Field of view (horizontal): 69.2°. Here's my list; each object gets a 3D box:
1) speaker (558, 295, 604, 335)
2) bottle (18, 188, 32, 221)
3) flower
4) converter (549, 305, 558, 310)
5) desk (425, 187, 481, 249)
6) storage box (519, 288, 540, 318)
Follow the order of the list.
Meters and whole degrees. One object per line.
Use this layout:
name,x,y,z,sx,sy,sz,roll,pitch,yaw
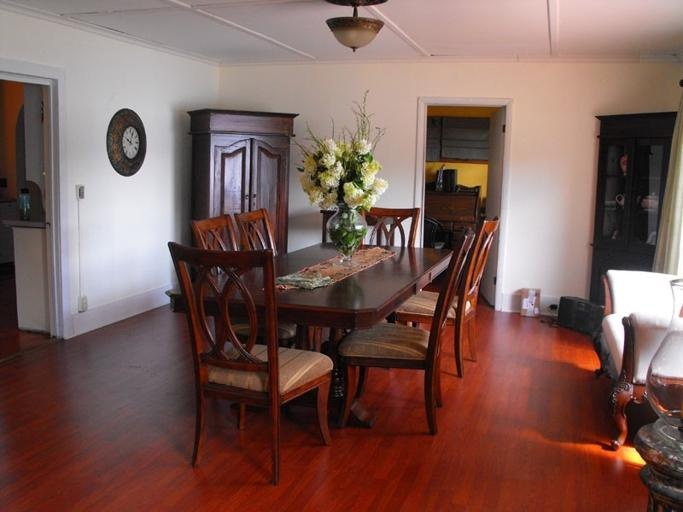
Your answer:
speaker,2.551,0.631,5.245,0.269,0.343,0.441,-1,12,-45
bottle,-3.179,-0.509,4.980,0.109,0.232,0.364,-6,13,-32
flower,-0.007,-0.528,3.550,0.632,1.067,0.716,-9,10,-29
converter,2.443,0.582,5.693,0.085,0.064,0.144,6,12,25
desk,1.673,-0.593,7.451,1.112,1.209,0.459,1,3,19
storage box,2.192,0.535,5.725,0.210,0.296,0.183,6,12,23
